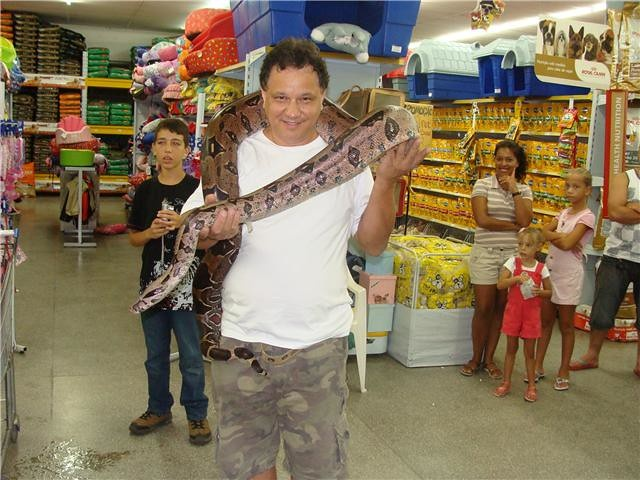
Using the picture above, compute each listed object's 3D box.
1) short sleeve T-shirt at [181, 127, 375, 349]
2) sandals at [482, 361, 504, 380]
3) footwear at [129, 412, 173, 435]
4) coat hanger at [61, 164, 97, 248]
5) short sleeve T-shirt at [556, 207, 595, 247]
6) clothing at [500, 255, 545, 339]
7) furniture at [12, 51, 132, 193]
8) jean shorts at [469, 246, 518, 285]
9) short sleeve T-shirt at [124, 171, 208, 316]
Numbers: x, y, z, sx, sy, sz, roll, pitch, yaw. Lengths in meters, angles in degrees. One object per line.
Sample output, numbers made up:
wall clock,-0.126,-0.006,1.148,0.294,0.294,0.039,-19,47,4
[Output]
short sleeve T-shirt,-0.111,-0.021,2.102,0.589,0.838,0.455,5,13,11
sandals,1.646,1.236,4.739,0.098,0.075,0.193,-7,9,-9
footwear,-1.253,1.337,3.687,0.298,0.131,0.109,-4,25,-46
coat hanger,-4.456,-0.648,9.153,0.573,1.418,1.303,-3,14,-26
short sleeve T-shirt,2.433,-0.125,4.758,0.186,0.333,0.355,22,1,-34
clothing,1.778,0.513,4.381,0.374,0.673,0.284,9,14,24
furniture,-7.306,-3.466,14.967,3.031,4.114,1.705,-3,14,-25
jean shorts,1.596,0.227,4.811,0.490,0.421,0.337,9,-8,-9
short sleeve T-shirt,-1.107,0.056,3.744,0.642,1.008,0.202,2,-8,20
